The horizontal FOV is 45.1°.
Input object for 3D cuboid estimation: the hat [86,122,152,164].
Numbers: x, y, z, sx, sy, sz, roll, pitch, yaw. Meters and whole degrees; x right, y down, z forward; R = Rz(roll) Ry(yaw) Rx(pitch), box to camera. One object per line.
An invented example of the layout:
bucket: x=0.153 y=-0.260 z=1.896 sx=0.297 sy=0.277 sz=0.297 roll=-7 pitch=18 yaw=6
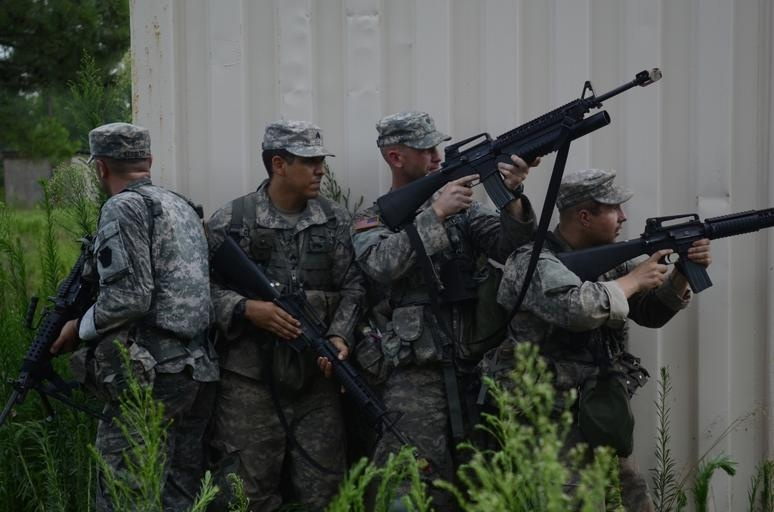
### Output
hat: x=-2.098 y=-0.861 z=7.438 sx=0.300 sy=0.216 sz=0.342 roll=2 pitch=2 yaw=35

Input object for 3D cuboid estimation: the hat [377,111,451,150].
hat: x=0.216 y=-1.032 z=7.762 sx=0.458 sy=0.222 sz=0.328 roll=1 pitch=10 yaw=5

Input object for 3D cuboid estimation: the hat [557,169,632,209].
hat: x=1.630 y=-0.538 z=7.416 sx=0.417 sy=0.205 sz=0.325 roll=-3 pitch=7 yaw=0

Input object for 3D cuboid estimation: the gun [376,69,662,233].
gun: x=1.171 y=-0.836 z=7.667 sx=2.340 sy=0.704 sz=0.344 roll=-22 pitch=9 yaw=24

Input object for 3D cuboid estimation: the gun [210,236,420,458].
gun: x=-0.617 y=0.741 z=7.622 sx=0.509 sy=2.065 sz=0.230 roll=-37 pitch=-6 yaw=2

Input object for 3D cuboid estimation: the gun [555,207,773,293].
gun: x=2.217 y=-0.036 z=7.447 sx=1.706 sy=0.727 sz=0.215 roll=-11 pitch=-10 yaw=-3

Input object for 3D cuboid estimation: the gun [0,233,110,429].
gun: x=-2.694 y=0.665 z=7.587 sx=0.447 sy=1.492 sz=0.630 roll=6 pitch=-24 yaw=25

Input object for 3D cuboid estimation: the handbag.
handbag: x=1.801 y=1.207 z=7.656 sx=0.480 sy=1.091 sz=0.711 roll=0 pitch=-9 yaw=11

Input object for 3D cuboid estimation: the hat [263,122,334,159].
hat: x=-0.771 y=-0.970 z=7.750 sx=0.407 sy=0.206 sz=0.320 roll=3 pitch=6 yaw=8

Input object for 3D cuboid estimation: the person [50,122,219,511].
person: x=-1.878 y=0.480 z=7.371 sx=1.078 sy=3.084 sz=0.519 roll=0 pitch=-1 yaw=-22
